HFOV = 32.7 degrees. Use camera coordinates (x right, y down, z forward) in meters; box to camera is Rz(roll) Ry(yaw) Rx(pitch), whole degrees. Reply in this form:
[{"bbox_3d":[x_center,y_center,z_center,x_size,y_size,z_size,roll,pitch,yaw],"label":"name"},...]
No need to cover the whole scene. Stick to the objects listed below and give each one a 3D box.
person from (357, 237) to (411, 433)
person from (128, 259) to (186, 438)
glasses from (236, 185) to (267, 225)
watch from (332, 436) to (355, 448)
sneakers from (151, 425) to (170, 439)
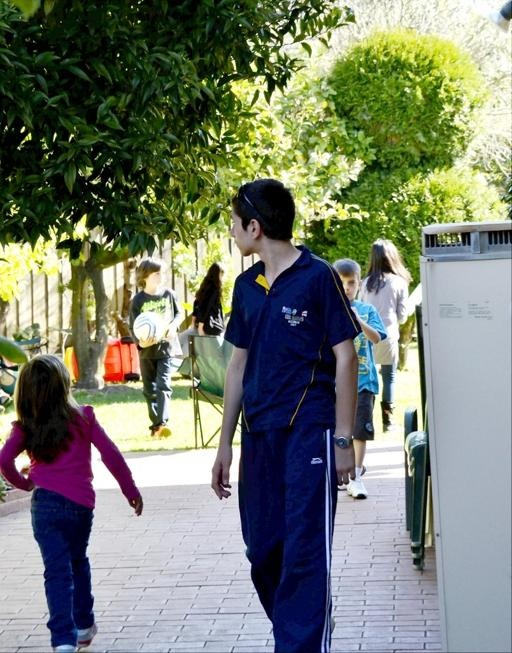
[{"bbox_3d":[1.117,0.084,7.600,0.629,1.881,0.551,5,36,14],"label":"person"},{"bbox_3d":[-0.959,0.240,8.279,0.457,1.322,0.568,-4,3,21],"label":"person"},{"bbox_3d":[-0.023,-0.395,2.786,0.032,0.119,0.099,-32,2,5],"label":"glasses"},{"bbox_3d":[0.265,0.360,2.707,0.044,0.024,0.042,1,0,4],"label":"watch"},{"bbox_3d":[-0.937,1.036,8.553,0.142,0.131,0.146,0,2,13],"label":"sneakers"}]
